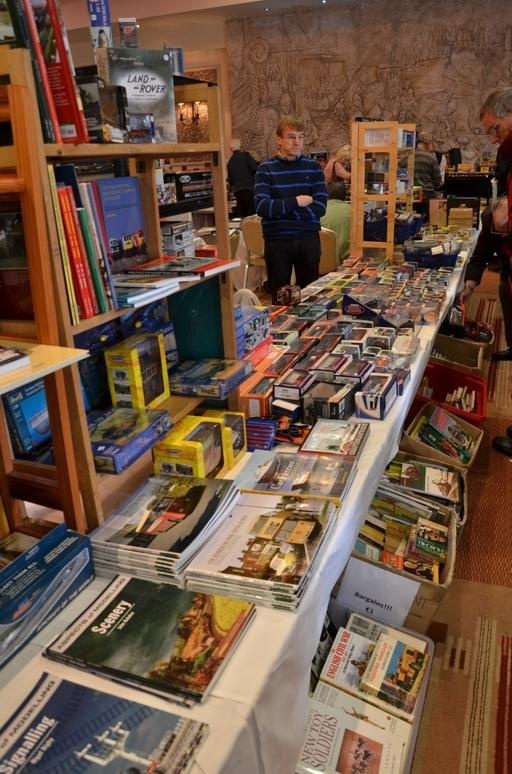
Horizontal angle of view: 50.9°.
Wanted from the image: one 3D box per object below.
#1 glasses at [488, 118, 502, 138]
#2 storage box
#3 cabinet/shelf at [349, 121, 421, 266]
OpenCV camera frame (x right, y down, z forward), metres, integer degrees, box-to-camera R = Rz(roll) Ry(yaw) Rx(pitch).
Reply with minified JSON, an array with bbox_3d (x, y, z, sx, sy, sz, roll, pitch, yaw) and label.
[{"bbox_3d":[1.379,-1.494,3.102,0.052,0.070,0.062,-6,-7,33],"label":"glasses"},{"bbox_3d":[0.598,0.525,1.996,0.331,0.427,1.770,12,37,16],"label":"storage box"},{"bbox_3d":[1.017,-1.511,4.279,0.430,1.280,1.338,6,32,20],"label":"cabinet/shelf"}]
